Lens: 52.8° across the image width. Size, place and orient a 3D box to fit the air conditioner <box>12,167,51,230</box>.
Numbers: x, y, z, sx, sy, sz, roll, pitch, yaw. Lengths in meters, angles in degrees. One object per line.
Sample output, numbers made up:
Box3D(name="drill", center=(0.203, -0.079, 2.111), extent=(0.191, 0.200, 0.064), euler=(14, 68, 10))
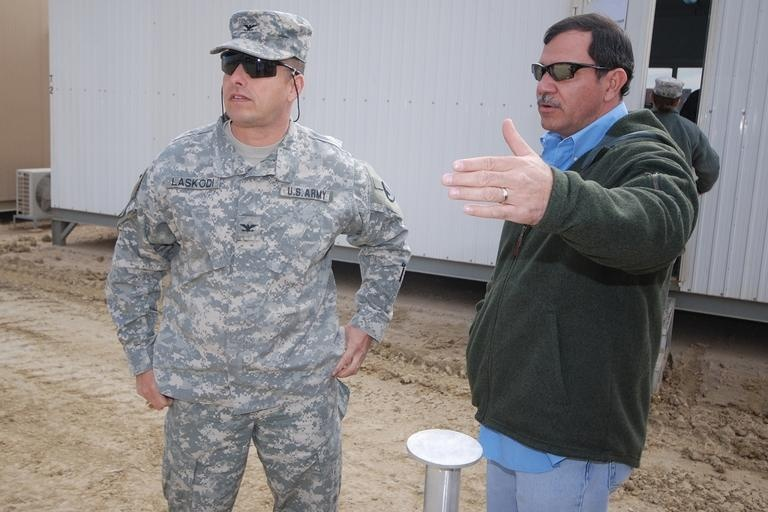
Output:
Box3D(name="air conditioner", center=(-5.759, -0.954, 12.620), extent=(0.571, 0.974, 0.428), euler=(1, 13, -17))

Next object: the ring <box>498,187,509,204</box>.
Box3D(name="ring", center=(0.595, -0.303, 3.839), extent=(0.050, 0.063, 0.024), euler=(6, 4, 7))

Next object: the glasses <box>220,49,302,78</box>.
Box3D(name="glasses", center=(-0.760, -1.166, 4.748), extent=(0.494, 0.154, 0.193), euler=(3, 13, -10))

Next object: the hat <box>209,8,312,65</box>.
Box3D(name="hat", center=(-0.696, -1.357, 4.736), extent=(0.363, 0.192, 0.482), euler=(19, 27, 25))
